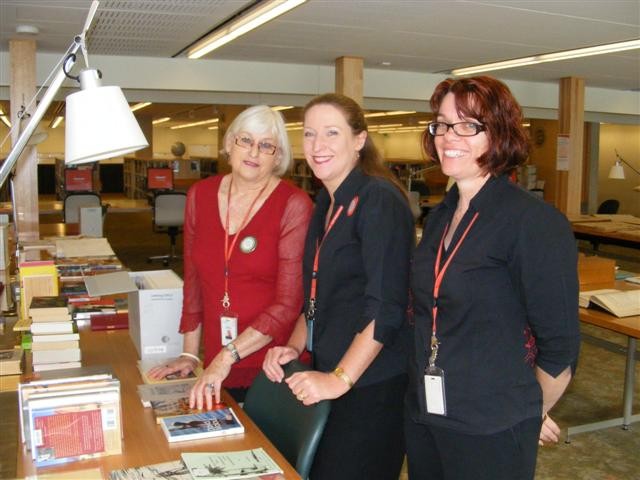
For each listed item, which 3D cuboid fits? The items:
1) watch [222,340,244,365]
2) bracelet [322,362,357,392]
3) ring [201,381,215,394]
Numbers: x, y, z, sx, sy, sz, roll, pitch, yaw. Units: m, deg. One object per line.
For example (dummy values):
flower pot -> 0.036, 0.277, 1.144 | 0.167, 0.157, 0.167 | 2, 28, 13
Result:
watch -> -0.319, 0.440, 1.894 | 0.058, 0.095, 0.097 | -25, -13, -13
bracelet -> 0.066, 0.449, 1.635 | 0.035, 0.088, 0.064 | -36, -9, -41
ring -> -0.416, 0.539, 1.793 | 0.049, 0.022, 0.063 | 0, 2, -9
